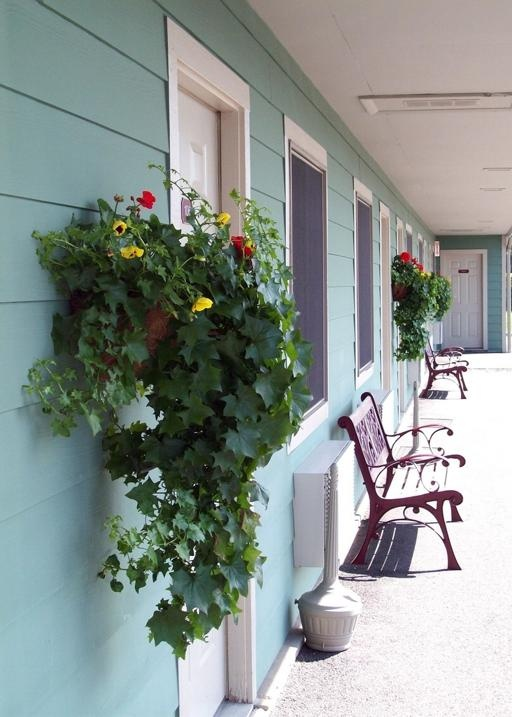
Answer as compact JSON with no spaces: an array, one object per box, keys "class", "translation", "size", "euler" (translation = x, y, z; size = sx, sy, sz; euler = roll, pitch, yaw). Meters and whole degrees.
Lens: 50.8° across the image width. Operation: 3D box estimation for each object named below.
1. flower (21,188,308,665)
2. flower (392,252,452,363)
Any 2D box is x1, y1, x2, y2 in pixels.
[{"class":"flower","translation":[-0.216,0.070,1.107],"size":[0.558,0.827,0.358],"euler":[2,2,-28]},{"class":"flower","translation":[2.088,-0.664,6.982],"size":[0.584,1.388,1.722],"euler":[1,6,17]}]
